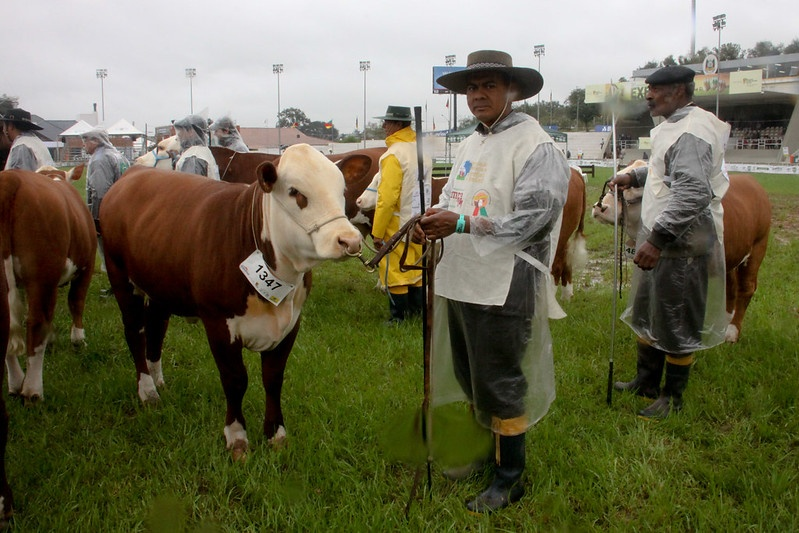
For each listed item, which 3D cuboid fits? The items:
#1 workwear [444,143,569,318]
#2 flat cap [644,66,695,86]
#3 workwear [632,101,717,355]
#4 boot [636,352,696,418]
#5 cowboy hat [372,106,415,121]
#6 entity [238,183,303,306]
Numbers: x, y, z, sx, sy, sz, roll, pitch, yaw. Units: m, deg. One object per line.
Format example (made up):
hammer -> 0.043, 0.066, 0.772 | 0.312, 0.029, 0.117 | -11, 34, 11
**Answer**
workwear -> 0.920, -0.488, 5.154 | 0.877, 1.087, 1.326 | 26, 38, 34
flat cap -> 2.775, -1.886, 6.028 | 0.283, 0.114, 0.280 | -1, 19, 30
workwear -> 2.881, -0.328, 5.982 | 0.959, 2.395, 0.714 | 1, 13, 7
boot -> 2.753, 1.233, 6.359 | 0.673, 0.937, 0.338 | 0, 7, -8
cowboy hat -> -0.031, -1.982, 7.964 | 0.379, 0.219, 0.761 | -1, 16, 0
entity -> -1.130, -0.140, 5.103 | 0.387, 0.810, 0.561 | -14, -17, 17
